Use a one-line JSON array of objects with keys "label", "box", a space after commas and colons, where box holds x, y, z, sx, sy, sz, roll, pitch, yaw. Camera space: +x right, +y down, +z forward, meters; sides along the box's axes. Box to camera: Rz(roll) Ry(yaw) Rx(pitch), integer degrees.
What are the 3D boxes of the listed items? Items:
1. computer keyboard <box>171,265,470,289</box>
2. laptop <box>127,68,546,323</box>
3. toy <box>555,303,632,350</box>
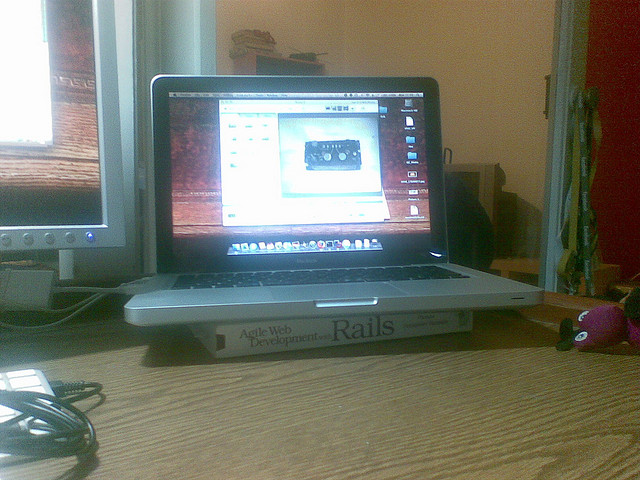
[{"label": "computer keyboard", "box": [-0.001, 0.054, 0.798, 0.417, 0.010, 0.103, -2, 5, -11]}, {"label": "laptop", "box": [0.006, -0.062, 0.762, 0.550, 0.257, 0.290, -1, 18, -7]}, {"label": "toy", "box": [0.354, 0.114, 0.752, 0.128, 0.052, 0.111, 2, 7, 3]}]
